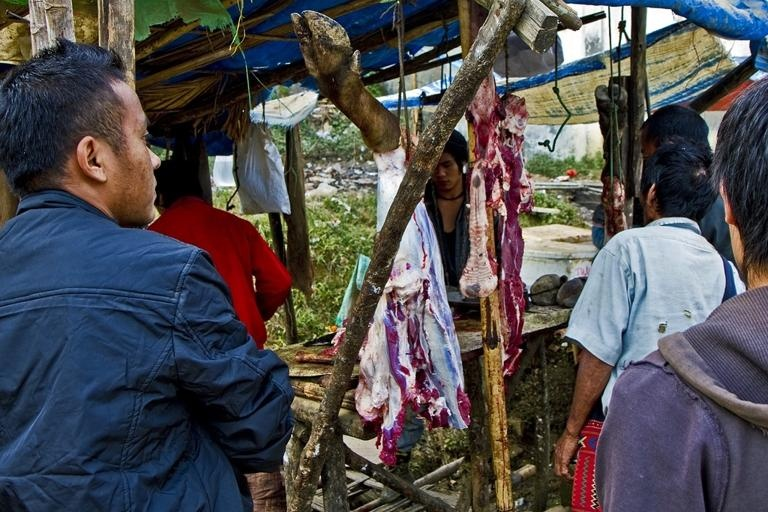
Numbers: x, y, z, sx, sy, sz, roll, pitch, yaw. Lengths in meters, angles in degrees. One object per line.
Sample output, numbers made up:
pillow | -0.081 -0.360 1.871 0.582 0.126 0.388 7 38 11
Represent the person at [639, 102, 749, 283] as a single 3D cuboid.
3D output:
person | 1.733 -0.266 5.085 0.443 1.374 0.523 21 -23 -32
